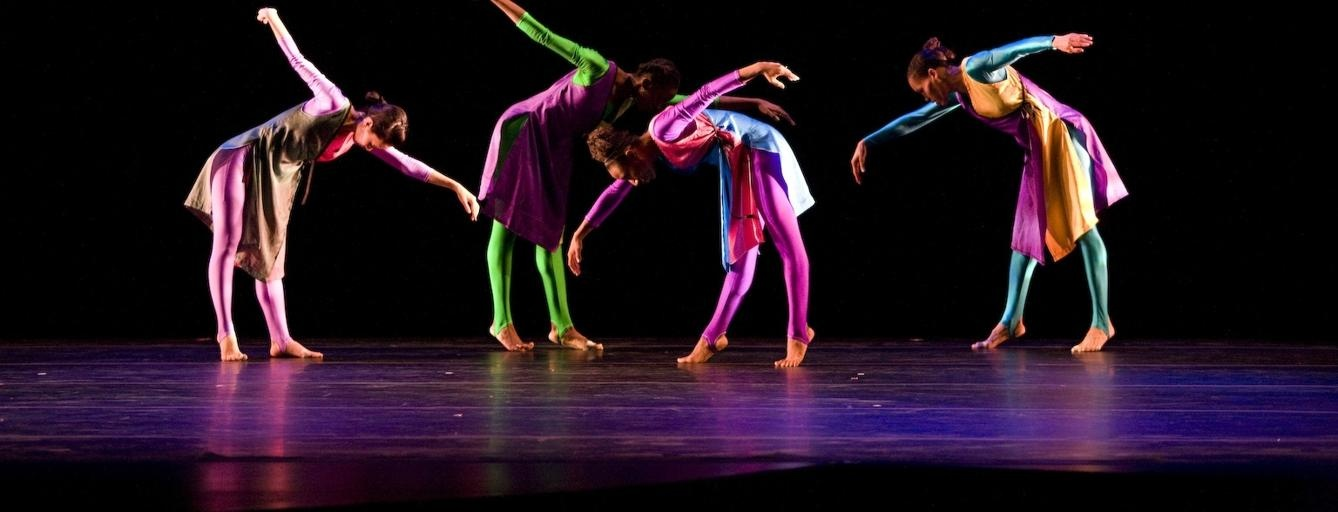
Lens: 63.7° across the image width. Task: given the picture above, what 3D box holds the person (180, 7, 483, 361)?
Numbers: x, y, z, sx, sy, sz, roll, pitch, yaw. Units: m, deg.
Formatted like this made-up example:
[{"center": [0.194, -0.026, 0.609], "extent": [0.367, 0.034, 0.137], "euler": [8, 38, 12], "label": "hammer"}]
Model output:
[{"center": [-2.546, -0.474, 7.480], "extent": [1.469, 2.399, 0.655], "euler": [3, -8, -18], "label": "person"}]

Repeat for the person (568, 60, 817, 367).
[{"center": [0.276, -0.273, 7.220], "extent": [1.333, 2.022, 0.507], "euler": [0, -8, 5], "label": "person"}]

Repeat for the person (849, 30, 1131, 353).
[{"center": [2.571, -0.437, 7.745], "extent": [1.024, 2.219, 0.988], "euler": [-4, -9, 32], "label": "person"}]
